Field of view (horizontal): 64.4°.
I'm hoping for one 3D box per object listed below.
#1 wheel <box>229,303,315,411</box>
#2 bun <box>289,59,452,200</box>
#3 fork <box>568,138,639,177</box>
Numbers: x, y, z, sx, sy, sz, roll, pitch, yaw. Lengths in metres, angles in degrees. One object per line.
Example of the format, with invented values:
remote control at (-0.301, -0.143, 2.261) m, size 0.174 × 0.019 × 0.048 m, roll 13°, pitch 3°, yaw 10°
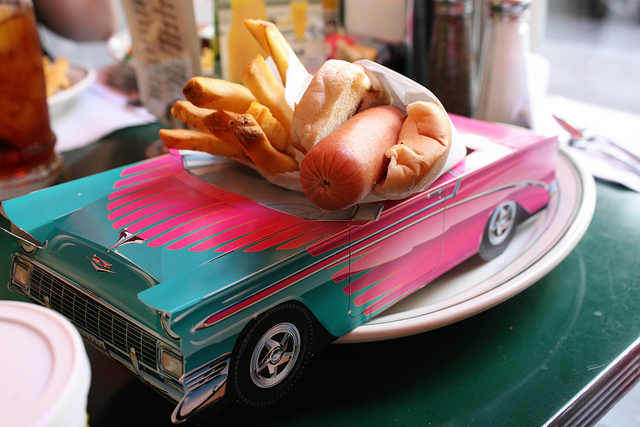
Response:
wheel at (-0.069, 0.188, 0.677) m, size 0.123 × 0.134 × 0.017 m, roll -15°, pitch 17°, yaw -43°
bun at (0.073, -0.103, 0.746) m, size 0.217 × 0.091 × 0.214 m, roll 37°, pitch 49°, yaw 23°
fork at (0.555, -0.124, 1.018) m, size 0.154 × 0.015 × 0.051 m, roll 27°, pitch 17°, yaw 26°
